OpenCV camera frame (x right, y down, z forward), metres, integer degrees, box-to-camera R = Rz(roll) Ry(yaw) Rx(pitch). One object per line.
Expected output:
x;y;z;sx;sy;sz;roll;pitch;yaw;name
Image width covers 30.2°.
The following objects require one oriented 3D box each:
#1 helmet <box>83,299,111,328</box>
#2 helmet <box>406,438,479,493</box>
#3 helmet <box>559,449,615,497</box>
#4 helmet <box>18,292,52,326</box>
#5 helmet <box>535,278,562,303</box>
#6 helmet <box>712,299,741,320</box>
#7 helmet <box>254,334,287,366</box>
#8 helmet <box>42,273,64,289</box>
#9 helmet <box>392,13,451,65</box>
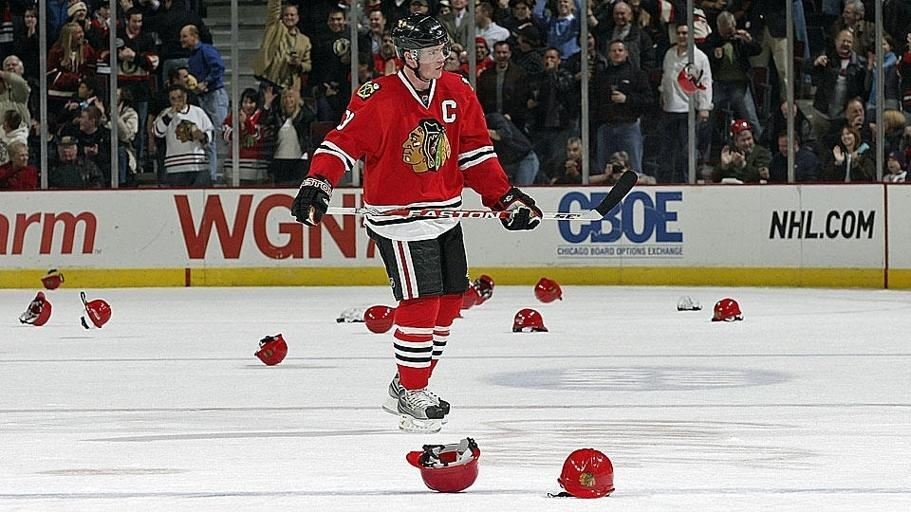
-4.001;0.650;18.595;0.259;0.303;0.335;-1;2;-5;helmet
-0.141;1.753;14.114;0.539;0.346;0.395;-1;15;3;helmet
1.080;1.829;14.038;0.411;0.395;0.415;2;1;6;helmet
-4.790;0.611;18.890;0.324;0.360;0.295;-2;3;-16;helmet
1.124;0.436;20.466;0.313;0.315;0.293;-37;2;-9;helmet
3.021;0.621;18.848;0.313;0.175;0.212;1;-1;2;helmet
-1.865;0.938;16.753;0.341;0.289;0.291;-2;3;-23;helmet
-5.322;0.339;21.950;0.303;0.203;0.233;0;-3;-10;helmet
-0.304;-1.974;15.454;0.492;0.428;0.401;-8;11;19;helmet
